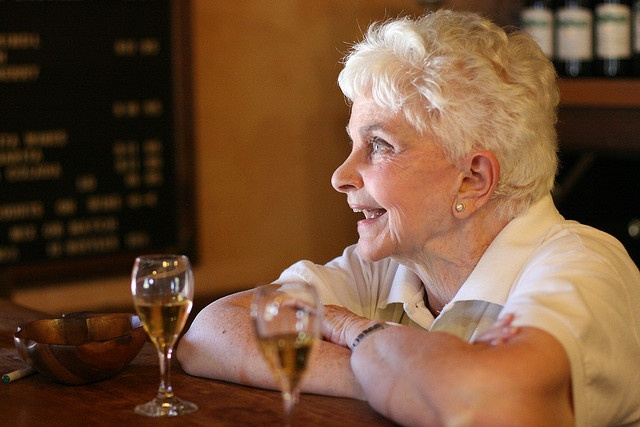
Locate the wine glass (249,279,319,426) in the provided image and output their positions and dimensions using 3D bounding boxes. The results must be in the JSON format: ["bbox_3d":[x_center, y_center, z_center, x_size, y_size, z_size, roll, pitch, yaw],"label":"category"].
[{"bbox_3d":[-0.058,0.278,1.326,0.124,0.250,0.136,-13,22,-28],"label":"wine glass"}]

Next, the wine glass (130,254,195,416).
[{"bbox_3d":[-0.343,0.280,1.452,0.145,0.328,0.192,-5,19,-6],"label":"wine glass"}]

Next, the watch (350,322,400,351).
[{"bbox_3d":[0.128,0.296,1.546,0.049,0.051,0.048,-34,-3,-37],"label":"watch"}]

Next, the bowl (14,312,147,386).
[{"bbox_3d":[-0.561,0.283,1.559,0.196,0.074,0.205,1,1,0],"label":"bowl"}]
